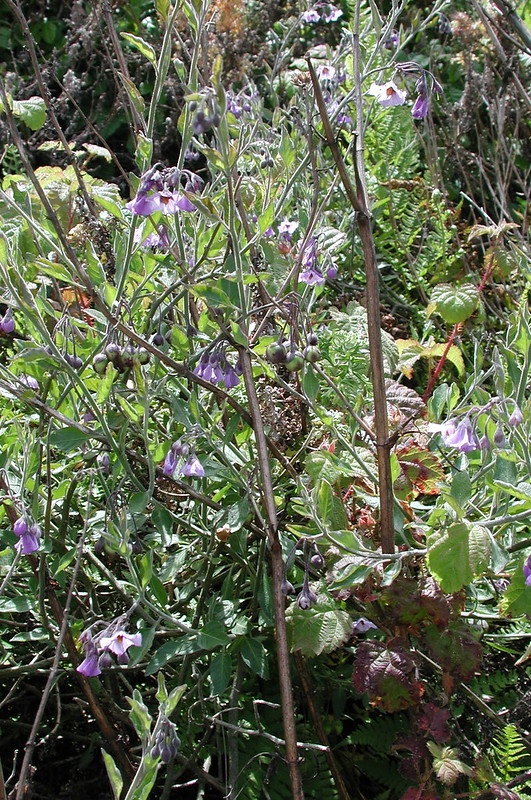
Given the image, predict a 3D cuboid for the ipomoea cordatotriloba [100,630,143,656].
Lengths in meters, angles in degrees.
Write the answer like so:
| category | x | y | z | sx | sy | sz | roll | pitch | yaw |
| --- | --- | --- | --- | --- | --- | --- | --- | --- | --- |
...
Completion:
| category | x | y | z | sx | sy | sz | roll | pitch | yaw |
| --- | --- | --- | --- | --- | --- | --- | --- | --- | --- |
| ipomoea cordatotriloba | -0.255 | 0.422 | 1.233 | 0.060 | 0.027 | 0.059 | 12 | 17 | 16 |
